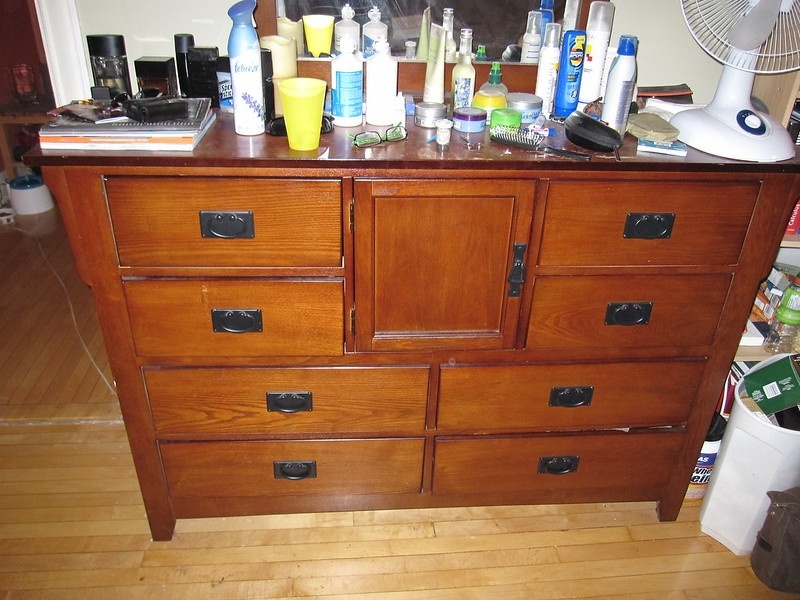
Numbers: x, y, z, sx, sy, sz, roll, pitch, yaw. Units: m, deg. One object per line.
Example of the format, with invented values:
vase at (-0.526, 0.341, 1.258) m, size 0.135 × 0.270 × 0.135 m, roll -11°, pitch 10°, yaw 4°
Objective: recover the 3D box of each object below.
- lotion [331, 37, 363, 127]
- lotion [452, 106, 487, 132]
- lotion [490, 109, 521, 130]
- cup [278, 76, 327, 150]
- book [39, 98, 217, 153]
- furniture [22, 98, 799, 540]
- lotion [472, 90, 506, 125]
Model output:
lotion at (-0.134, -0.536, 1.467) m, size 0.074 × 0.214 × 0.049 m, roll -3°, pitch 33°, yaw -7°
lotion at (0.183, -0.455, 1.489) m, size 0.096 × 0.035 × 0.072 m, roll -1°, pitch 26°, yaw 0°
lotion at (0.260, -0.449, 1.482) m, size 0.083 × 0.031 × 0.065 m, roll 2°, pitch 19°, yaw 6°
cup at (-0.226, -0.436, 1.389) m, size 0.103 × 0.154 × 0.172 m, roll -4°, pitch 28°, yaw -8°
book at (-0.648, -0.431, 1.432) m, size 0.365 × 0.103 × 0.305 m, roll -2°, pitch 24°, yaw -6°
furniture at (0.096, 0.064, 1.534) m, size 2.079 × 0.958 × 0.530 m, roll -1°, pitch 39°, yaw -3°
lotion at (0.228, -0.518, 1.607) m, size 0.125 × 0.062 × 0.094 m, roll -2°, pitch 30°, yaw -2°
